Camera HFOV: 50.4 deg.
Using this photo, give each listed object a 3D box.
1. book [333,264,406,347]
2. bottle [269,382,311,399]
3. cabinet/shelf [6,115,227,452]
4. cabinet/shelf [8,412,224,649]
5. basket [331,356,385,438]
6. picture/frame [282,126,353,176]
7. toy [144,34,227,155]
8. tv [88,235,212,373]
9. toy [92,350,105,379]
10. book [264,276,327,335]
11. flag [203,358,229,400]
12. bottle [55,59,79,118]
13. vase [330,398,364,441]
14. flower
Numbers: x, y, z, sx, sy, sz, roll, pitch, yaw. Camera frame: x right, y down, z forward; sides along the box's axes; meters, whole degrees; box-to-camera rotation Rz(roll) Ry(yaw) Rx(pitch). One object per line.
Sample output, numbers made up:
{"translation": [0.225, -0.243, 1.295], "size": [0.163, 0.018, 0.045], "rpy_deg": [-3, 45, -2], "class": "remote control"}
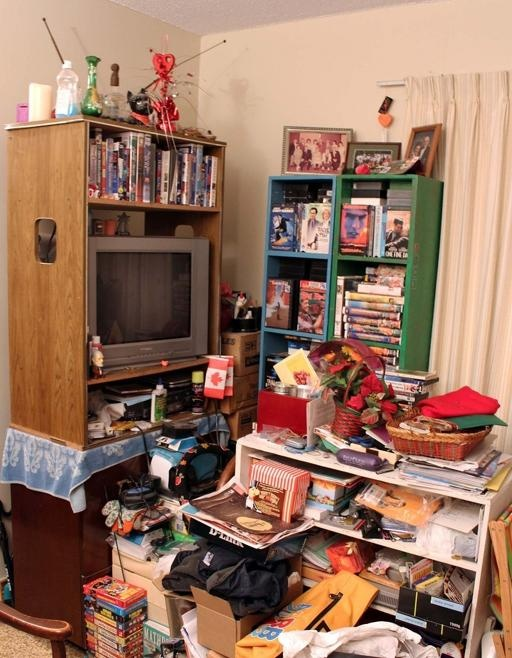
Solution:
{"translation": [0.467, -0.080, 2.268], "size": [0.109, 0.277, 0.297], "rpy_deg": [-4, 10, -34], "class": "book"}
{"translation": [0.123, 0.203, 1.798], "size": [0.079, 0.027, 0.054], "rpy_deg": [15, 8, 28], "class": "bottle"}
{"translation": [-0.598, -0.217, 2.296], "size": [0.523, 1.186, 0.788], "rpy_deg": [7, 10, 32], "class": "cabinet/shelf"}
{"translation": [-0.744, 0.779, 2.195], "size": [0.456, 0.768, 0.379], "rpy_deg": [6, 10, 25], "class": "cabinet/shelf"}
{"translation": [0.300, 0.218, 1.604], "size": [0.151, 0.236, 0.088], "rpy_deg": [4, 9, 15], "class": "basket"}
{"translation": [0.292, -0.820, 2.534], "size": [0.330, 0.217, 0.025], "rpy_deg": [5, 3, 20], "class": "picture/frame"}
{"translation": [-0.348, -0.971, 2.215], "size": [0.384, 0.357, 0.280], "rpy_deg": [5, 24, -4], "class": "toy"}
{"translation": [-0.517, -0.116, 2.338], "size": [0.238, 0.539, 0.648], "rpy_deg": [9, 11, 39], "class": "tv"}
{"translation": [-0.585, 0.132, 2.003], "size": [0.042, 0.107, 0.071], "rpy_deg": [-1, 9, -18], "class": "toy"}
{"translation": [0.193, -0.103, 2.485], "size": [0.271, 0.179, 0.029], "rpy_deg": [9, 10, 44], "class": "book"}
{"translation": [-0.189, 0.229, 2.471], "size": [0.111, 0.189, 0.020], "rpy_deg": [13, -13, -33], "class": "flag"}
{"translation": [-0.675, -0.846, 1.936], "size": [0.078, 0.199, 0.107], "rpy_deg": [-2, 9, -20], "class": "bottle"}
{"translation": [0.267, 0.272, 1.625], "size": [0.105, 0.082, 0.089], "rpy_deg": [15, 4, -1], "class": "vase"}
{"translation": [0.335, 0.169, 1.699], "size": [0.221, 0.237, 0.235], "rpy_deg": [1, 14, 42], "class": "flower"}
